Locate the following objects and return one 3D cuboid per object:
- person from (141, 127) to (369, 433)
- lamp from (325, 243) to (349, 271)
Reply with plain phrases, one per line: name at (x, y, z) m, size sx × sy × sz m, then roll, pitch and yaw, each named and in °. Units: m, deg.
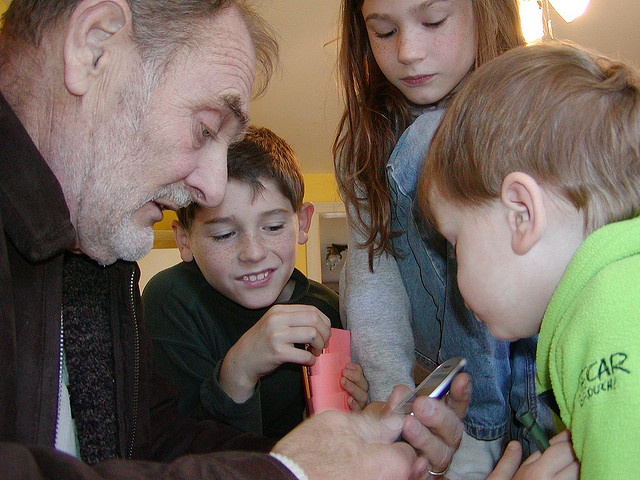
person at (-0.206, 0.201, 2.136) m, size 0.761 × 1.167 × 0.681 m, roll 1°, pitch 6°, yaw 27°
lamp at (0.207, 0.174, 7.196) m, size 0.273 × 0.548 × 0.143 m, roll -1°, pitch -10°, yaw 34°
